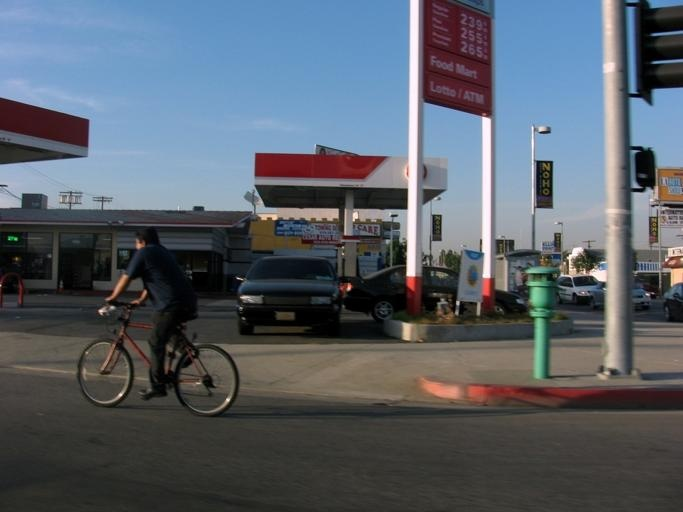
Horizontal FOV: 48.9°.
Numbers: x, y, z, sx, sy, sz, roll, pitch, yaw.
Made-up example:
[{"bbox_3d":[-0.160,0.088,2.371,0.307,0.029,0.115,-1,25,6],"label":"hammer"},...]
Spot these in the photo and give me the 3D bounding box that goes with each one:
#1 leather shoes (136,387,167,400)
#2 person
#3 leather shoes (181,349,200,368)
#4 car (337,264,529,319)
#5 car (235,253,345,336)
[{"bbox_3d":[-2.245,1.616,8.888,0.372,0.135,0.140,4,-1,0],"label":"leather shoes"},{"bbox_3d":[-2.201,0.671,8.881,0.931,2.031,0.364,0,-1,-9],"label":"person"},{"bbox_3d":[-1.797,1.214,8.912,0.200,0.204,0.116,8,2,7],"label":"leather shoes"},{"bbox_3d":[2.165,0.875,18.513,4.567,1.101,1.631,-1,-3,-2],"label":"car"},{"bbox_3d":[-1.049,0.852,15.249,2.038,1.538,1.872,0,-1,-4],"label":"car"}]
